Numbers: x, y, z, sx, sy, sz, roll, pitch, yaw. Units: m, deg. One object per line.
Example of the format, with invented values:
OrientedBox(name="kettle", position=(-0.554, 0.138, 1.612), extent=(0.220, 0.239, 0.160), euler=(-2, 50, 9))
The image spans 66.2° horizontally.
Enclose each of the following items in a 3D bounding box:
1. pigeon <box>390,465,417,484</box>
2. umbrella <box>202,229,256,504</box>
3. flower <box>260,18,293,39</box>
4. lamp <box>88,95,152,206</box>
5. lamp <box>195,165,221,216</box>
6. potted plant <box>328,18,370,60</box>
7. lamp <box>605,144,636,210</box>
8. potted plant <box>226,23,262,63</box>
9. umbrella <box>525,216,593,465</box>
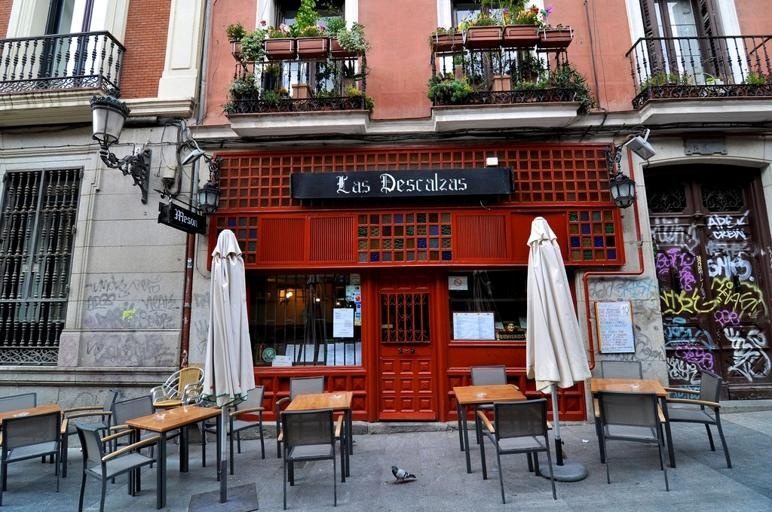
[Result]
OrientedBox(name="pigeon", position=(0.270, 4.136, 11.207), extent=(0.600, 0.317, 0.212), euler=(13, -22, -37))
OrientedBox(name="umbrella", position=(-2.998, 1.117, 11.247), extent=(0.422, 3.306, 0.895), euler=(-7, -6, 43))
OrientedBox(name="flower", position=(-2.626, -5.354, 14.124), extent=(0.818, 0.426, 0.823), euler=(3, 5, 11))
OrientedBox(name="lamp", position=(-5.983, -2.508, 13.446), extent=(0.927, 2.475, 1.467), euler=(-3, -5, -5))
OrientedBox(name="lamp", position=(-4.070, -1.579, 13.688), extent=(0.479, 1.210, 0.601), euler=(-2, -5, -17))
OrientedBox(name="potted plant", position=(-0.828, -5.112, 13.971), extent=(0.956, 0.684, 0.862), euler=(2, -5, 1))
OrientedBox(name="lamp", position=(5.347, -1.761, 13.458), extent=(0.590, 1.908, 0.692), euler=(3, -29, 7))
OrientedBox(name="potted plant", position=(-3.238, -4.986, 14.103), extent=(0.942, 0.686, 0.938), euler=(2, 9, -2))
OrientedBox(name="umbrella", position=(3.199, 1.330, 11.280), extent=(1.071, 4.225, 0.466), euler=(-4, -5, 11))
